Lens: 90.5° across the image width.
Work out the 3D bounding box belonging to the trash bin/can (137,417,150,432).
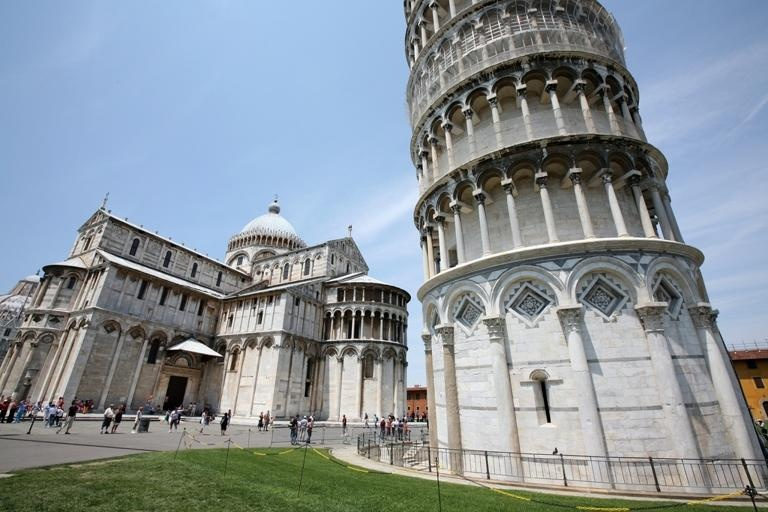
[{"bbox_3d":[-16.589,11.660,26.175,0.689,0.908,0.828,8,-27,-20],"label":"trash bin/can"}]
